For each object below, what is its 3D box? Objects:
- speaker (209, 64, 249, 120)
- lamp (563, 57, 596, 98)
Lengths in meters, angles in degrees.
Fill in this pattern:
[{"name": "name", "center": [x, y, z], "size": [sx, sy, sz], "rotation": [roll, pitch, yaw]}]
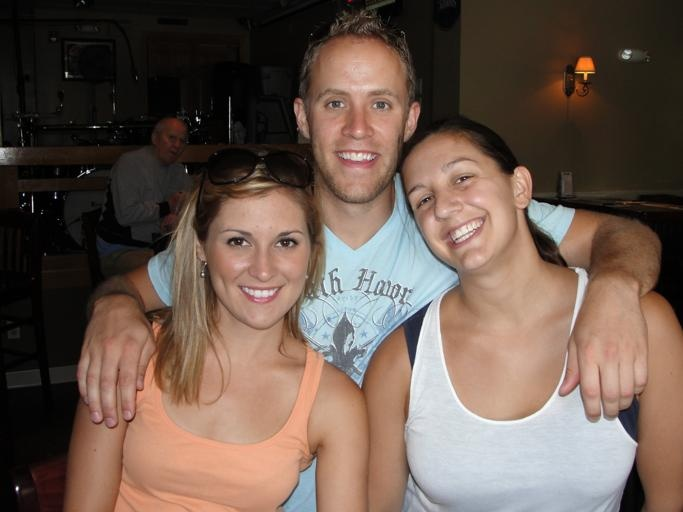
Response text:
[{"name": "speaker", "center": [-1.502, -2.334, 8.463], "size": [0.752, 0.948, 0.777], "rotation": [-2, 12, -16]}, {"name": "lamp", "center": [2.973, -2.226, 7.321], "size": [0.341, 0.479, 0.274], "rotation": [5, 21, 21]}]
